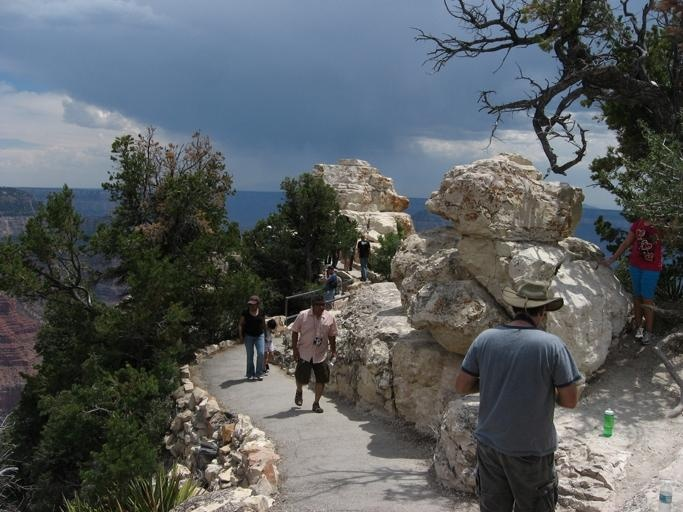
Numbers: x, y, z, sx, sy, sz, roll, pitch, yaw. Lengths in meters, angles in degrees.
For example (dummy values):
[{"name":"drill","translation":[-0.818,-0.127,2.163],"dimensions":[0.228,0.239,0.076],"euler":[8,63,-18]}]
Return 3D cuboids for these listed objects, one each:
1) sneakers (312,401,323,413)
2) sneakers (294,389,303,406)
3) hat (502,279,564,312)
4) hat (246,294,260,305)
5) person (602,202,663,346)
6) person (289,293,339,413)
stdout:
[{"name":"sneakers","translation":[-0.551,3.466,14.296],"dimensions":[0.130,0.240,0.383],"euler":[2,-14,-19]},{"name":"sneakers","translation":[-0.983,3.287,14.277],"dimensions":[0.166,0.436,0.162],"euler":[-9,10,-43]},{"name":"hat","translation":[2.735,0.559,9.028],"dimensions":[0.939,0.417,0.817],"euler":[9,-4,-39]},{"name":"hat","translation":[-2.199,1.113,15.665],"dimensions":[0.217,0.188,0.349],"euler":[2,3,-12]},{"name":"person","translation":[6.318,0.510,13.327],"dimensions":[0.835,2.680,0.751],"euler":[4,4,29]},{"name":"person","translation":[-0.631,2.223,13.915],"dimensions":[0.952,2.734,0.733],"euler":[2,3,-3]}]
